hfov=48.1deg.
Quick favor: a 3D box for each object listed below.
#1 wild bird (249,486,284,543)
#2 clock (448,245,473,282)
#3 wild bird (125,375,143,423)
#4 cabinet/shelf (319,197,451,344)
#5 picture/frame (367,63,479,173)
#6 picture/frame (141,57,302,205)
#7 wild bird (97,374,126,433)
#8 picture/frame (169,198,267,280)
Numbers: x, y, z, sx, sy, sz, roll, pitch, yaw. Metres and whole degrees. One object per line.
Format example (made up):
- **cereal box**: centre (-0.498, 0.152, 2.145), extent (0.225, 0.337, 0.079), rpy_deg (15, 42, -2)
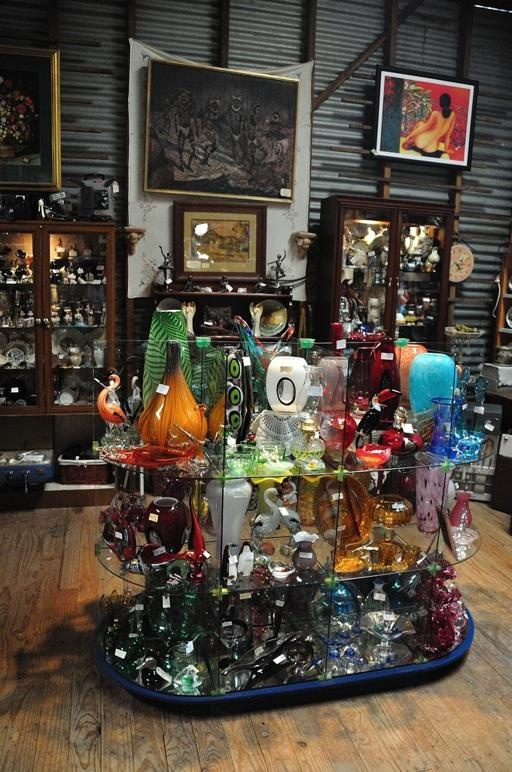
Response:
- **wild bird**: centre (0.034, 0.420, 1.893), extent (0.104, 0.178, 0.056), rpy_deg (1, 6, -10)
- **clock**: centre (1.567, -0.950, 4.426), extent (0.251, 0.258, 0.050), rpy_deg (26, -3, -33)
- **wild bird**: centre (-0.401, 0.039, 1.890), extent (0.048, 0.145, 0.134), rpy_deg (0, 6, -13)
- **cabinet/shelf**: centre (0.937, -0.807, 4.084), extent (0.996, 0.970, 0.353), rpy_deg (0, 6, -18)
- **picture/frame**: centre (1.181, -1.966, 4.162), extent (0.830, 0.619, 0.042), rpy_deg (2, 10, -22)
- **picture/frame**: centre (-0.262, -1.648, 3.670), extent (1.023, 0.765, 0.036), rpy_deg (-1, 18, -17)
- **wild bird**: centre (-0.474, 0.052, 1.886), extent (0.092, 0.173, 0.176), rpy_deg (0, 6, -16)
- **picture/frame**: centre (-0.275, -0.975, 3.744), extent (0.534, 0.437, 0.048), rpy_deg (0, 8, -10)
